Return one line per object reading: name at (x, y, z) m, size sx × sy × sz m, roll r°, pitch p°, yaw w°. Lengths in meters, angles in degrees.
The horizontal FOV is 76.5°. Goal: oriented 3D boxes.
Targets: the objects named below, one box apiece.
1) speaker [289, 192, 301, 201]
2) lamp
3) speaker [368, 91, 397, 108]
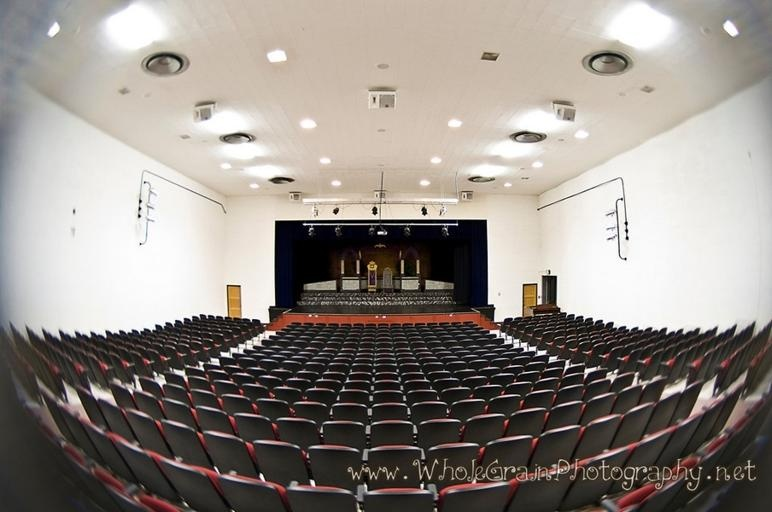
speaker at (-2.782, -1.859, 15.190) m, size 0.324 × 0.343 × 0.534 m, roll 0°, pitch -4°, yaw -11°
lamp at (-0.044, -1.191, 16.185) m, size 4.983 × 1.104 × 1.756 m, roll 0°, pitch -4°, yaw 0°
speaker at (-0.069, -2.595, 8.129) m, size 0.301 × 0.189 × 0.295 m, roll -2°, pitch 3°, yaw -13°
